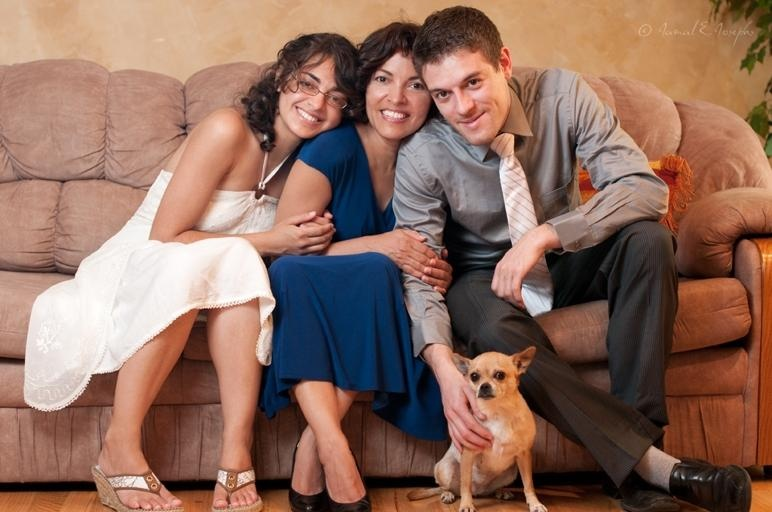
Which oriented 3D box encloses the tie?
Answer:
[{"bbox_3d":[0.503,-0.149,2.587,0.177,0.803,0.054,-10,-5,7],"label":"tie"}]
